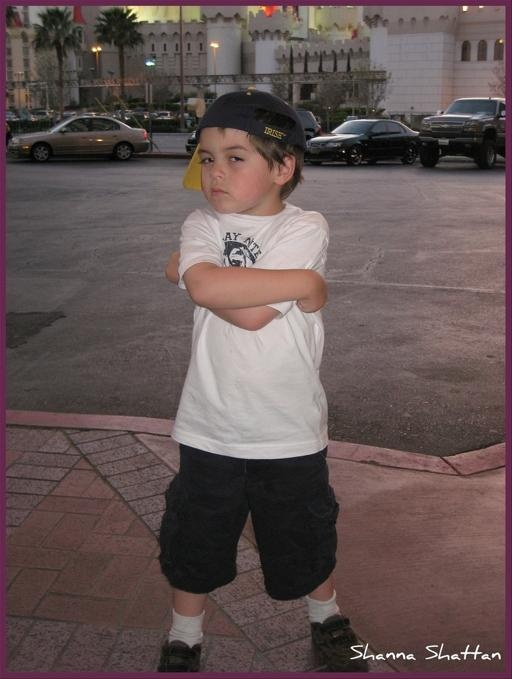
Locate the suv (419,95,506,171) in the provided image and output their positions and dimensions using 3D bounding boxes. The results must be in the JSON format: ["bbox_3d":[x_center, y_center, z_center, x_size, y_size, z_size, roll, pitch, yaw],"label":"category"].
[{"bbox_3d":[7.579,-7.520,21.123,2.950,2.609,2.348,-2,17,-2],"label":"suv"}]

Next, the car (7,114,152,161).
[{"bbox_3d":[-7.102,-8.092,23.407,5.149,1.756,0.724,-8,19,-23],"label":"car"}]

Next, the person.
[{"bbox_3d":[-0.007,0.187,1.377,0.555,1.455,0.333,-5,18,-11],"label":"person"}]

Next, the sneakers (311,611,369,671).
[{"bbox_3d":[0.226,0.834,1.608,0.087,0.082,0.202,-4,-9,-13],"label":"sneakers"}]

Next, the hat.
[{"bbox_3d":[0.013,-0.414,1.295,0.292,0.230,0.197,6,17,-25],"label":"hat"}]
